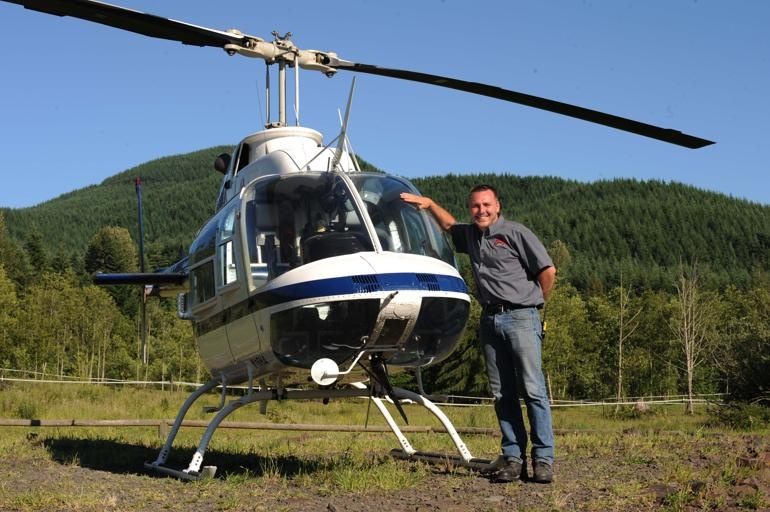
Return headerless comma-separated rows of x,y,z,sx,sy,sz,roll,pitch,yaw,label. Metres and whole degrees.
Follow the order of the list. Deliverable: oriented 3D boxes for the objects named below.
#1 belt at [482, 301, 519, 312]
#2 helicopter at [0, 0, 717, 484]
1.779,0.799,12.936,0.537,0.163,0.120,0,-7,9,belt
-0.760,0.333,14.786,8.813,4.425,7.915,6,-9,-33,helicopter
